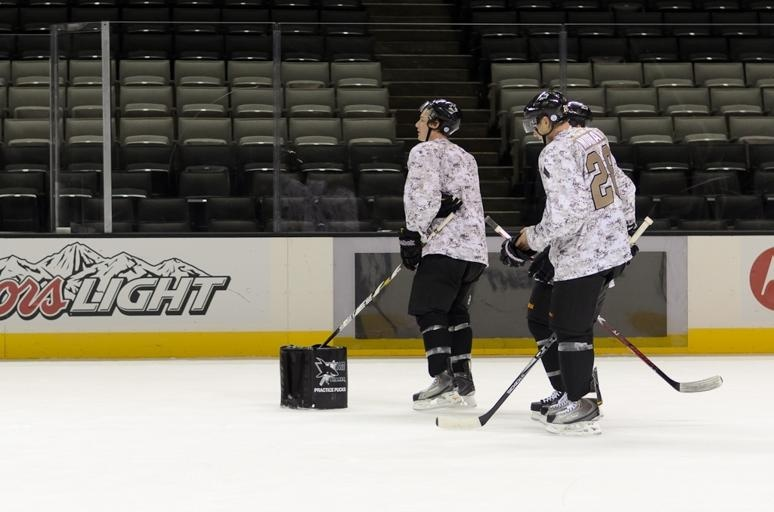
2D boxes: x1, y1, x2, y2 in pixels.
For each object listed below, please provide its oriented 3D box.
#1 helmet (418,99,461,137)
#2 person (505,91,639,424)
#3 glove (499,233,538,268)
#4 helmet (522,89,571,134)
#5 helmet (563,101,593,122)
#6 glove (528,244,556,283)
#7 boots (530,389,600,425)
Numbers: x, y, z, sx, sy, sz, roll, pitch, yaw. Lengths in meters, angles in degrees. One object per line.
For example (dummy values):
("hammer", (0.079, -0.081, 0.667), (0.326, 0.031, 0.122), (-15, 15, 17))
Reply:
("helmet", (0.406, -1.052, 9.473), (0.314, 0.288, 0.269), (1, 4, 22))
("person", (1.285, 0.024, 8.689), (0.848, 2.328, 0.504), (-2, 4, 7))
("glove", (0.939, -0.016, 8.862), (0.230, 0.091, 0.225), (-22, 36, -38))
("helmet", (1.105, -1.024, 8.864), (0.362, 0.282, 0.275), (7, 5, 12))
("helmet", (1.324, -1.020, 8.815), (0.144, 0.104, 0.205), (15, 9, 41))
("glove", (1.083, 0.071, 8.773), (0.197, 0.216, 0.101), (1, 9, 2))
("boots", (1.258, 1.047, 8.638), (0.381, 0.150, 0.243), (0, -4, -2))
